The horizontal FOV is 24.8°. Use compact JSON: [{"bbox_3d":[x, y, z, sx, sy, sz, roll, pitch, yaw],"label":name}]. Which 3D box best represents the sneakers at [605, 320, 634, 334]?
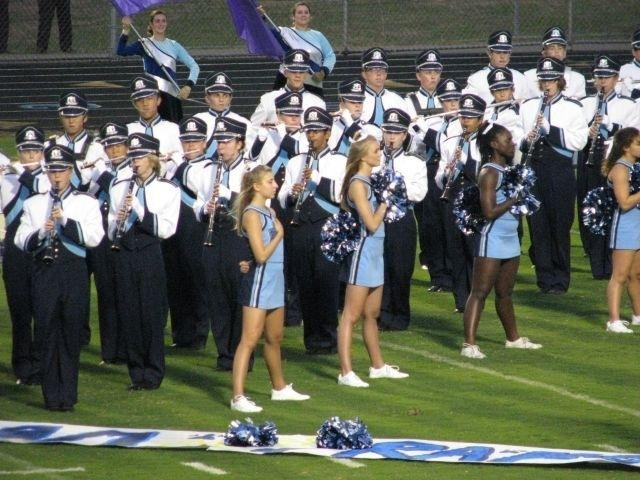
[{"bbox_3d":[3.703,1.056,17.936,0.355,0.122,0.131,1,3,22],"label":"sneakers"}]

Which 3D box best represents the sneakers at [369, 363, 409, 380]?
[{"bbox_3d":[0.765,1.492,16.556,0.491,0.154,0.165,0,3,-1],"label":"sneakers"}]

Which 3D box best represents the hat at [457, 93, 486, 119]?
[{"bbox_3d":[1.855,-1.626,17.782,0.267,0.185,0.324,10,4,19],"label":"hat"}]

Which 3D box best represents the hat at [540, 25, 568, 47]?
[{"bbox_3d":[3.321,-2.864,20.558,0.312,0.286,0.541,1,5,8],"label":"hat"}]

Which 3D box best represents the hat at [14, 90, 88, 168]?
[{"bbox_3d":[-2.980,-1.303,17.322,0.547,0.893,0.743,-1,5,-10],"label":"hat"}]

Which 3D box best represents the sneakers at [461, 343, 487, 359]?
[{"bbox_3d":[1.809,1.302,17.095,0.287,0.113,0.143,1,8,2],"label":"sneakers"}]

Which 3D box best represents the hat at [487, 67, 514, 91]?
[{"bbox_3d":[2.400,-2.127,19.344,0.333,0.299,0.449,1,5,5],"label":"hat"}]

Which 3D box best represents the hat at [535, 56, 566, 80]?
[{"bbox_3d":[3.044,-2.244,19.153,0.338,0.310,0.276,1,5,6],"label":"hat"}]

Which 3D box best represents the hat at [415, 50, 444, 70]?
[{"bbox_3d":[1.471,-2.424,19.669,0.331,0.290,0.441,0,5,2],"label":"hat"}]

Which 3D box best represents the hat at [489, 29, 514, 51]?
[{"bbox_3d":[2.526,-2.768,20.384,0.326,0.307,0.478,0,5,4],"label":"hat"}]

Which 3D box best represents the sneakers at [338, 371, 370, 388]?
[{"bbox_3d":[0.354,1.564,16.333,0.381,0.140,0.137,2,3,10],"label":"sneakers"}]

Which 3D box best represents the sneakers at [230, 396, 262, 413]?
[{"bbox_3d":[-0.801,1.740,15.556,0.331,0.120,0.151,2,6,8],"label":"sneakers"}]

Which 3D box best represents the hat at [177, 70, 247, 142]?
[{"bbox_3d":[-1.355,-1.753,18.292,0.695,0.933,0.535,-10,23,-27],"label":"hat"}]

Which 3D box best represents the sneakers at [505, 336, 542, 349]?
[{"bbox_3d":[2.447,1.219,17.467,0.450,0.141,0.150,-1,0,5],"label":"sneakers"}]

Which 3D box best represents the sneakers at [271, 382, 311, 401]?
[{"bbox_3d":[-0.362,1.668,15.957,0.494,0.168,0.157,0,1,-3],"label":"sneakers"}]

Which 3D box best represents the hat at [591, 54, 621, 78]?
[{"bbox_3d":[3.978,-2.394,20.148,0.347,0.308,0.284,1,5,12],"label":"hat"}]
